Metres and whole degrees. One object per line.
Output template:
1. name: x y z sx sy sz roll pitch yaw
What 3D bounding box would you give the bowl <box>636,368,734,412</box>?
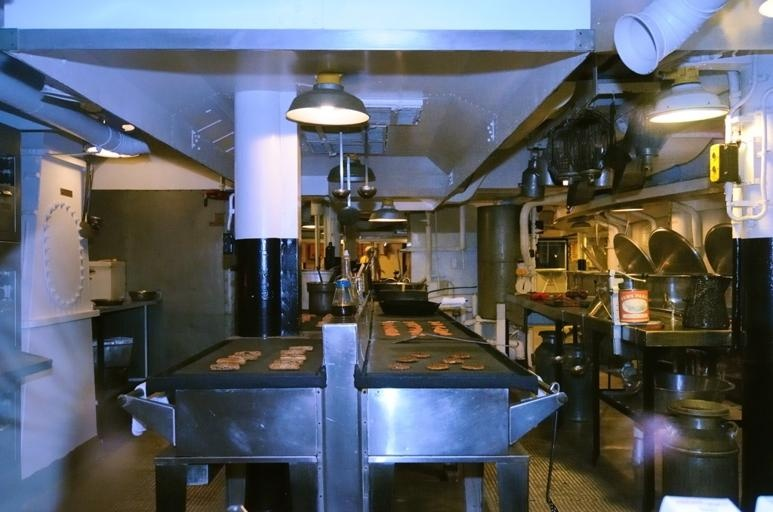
1. bowl: 2.430 1.051 5.633 0.484 0.155 0.383 0 0 10

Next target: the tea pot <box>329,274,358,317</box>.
1. tea pot: -0.286 0.297 5.067 0.254 0.346 0.248 -1 1 0

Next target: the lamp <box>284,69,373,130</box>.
1. lamp: -0.359 -1.009 4.782 0.491 0.239 0.478 -2 5 -9

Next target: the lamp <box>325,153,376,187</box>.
1. lamp: -0.360 -0.815 6.782 0.394 0.196 0.385 0 -4 -1

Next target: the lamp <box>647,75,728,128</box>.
1. lamp: 2.177 -1.132 5.109 0.531 0.236 0.294 -2 -4 22

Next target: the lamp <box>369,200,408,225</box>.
1. lamp: 0.012 -0.457 7.614 0.358 0.177 0.352 0 5 9

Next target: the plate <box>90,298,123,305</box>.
1. plate: -3.001 0.498 7.603 0.318 0.077 0.447 1 -4 -21
